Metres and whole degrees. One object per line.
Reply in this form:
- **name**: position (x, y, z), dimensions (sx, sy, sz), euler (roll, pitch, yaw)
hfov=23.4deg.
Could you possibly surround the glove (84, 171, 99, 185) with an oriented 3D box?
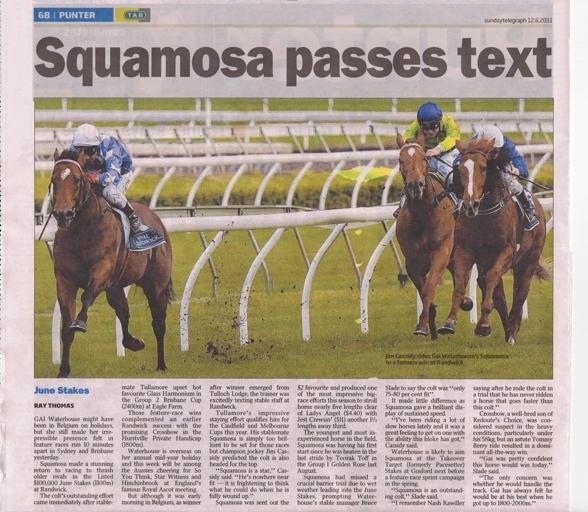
- **glove**: position (-2.053, -0.805, 14.409), dimensions (0.035, 0.129, 0.093), euler (-19, 1, 34)

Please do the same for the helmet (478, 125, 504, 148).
- **helmet**: position (2.052, -1.273, 14.664), dimensions (0.198, 0.203, 0.267), euler (3, 43, 4)

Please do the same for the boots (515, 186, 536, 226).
- **boots**: position (2.414, -0.497, 14.737), dimensions (0.138, 0.461, 0.173), euler (-10, -9, 26)
